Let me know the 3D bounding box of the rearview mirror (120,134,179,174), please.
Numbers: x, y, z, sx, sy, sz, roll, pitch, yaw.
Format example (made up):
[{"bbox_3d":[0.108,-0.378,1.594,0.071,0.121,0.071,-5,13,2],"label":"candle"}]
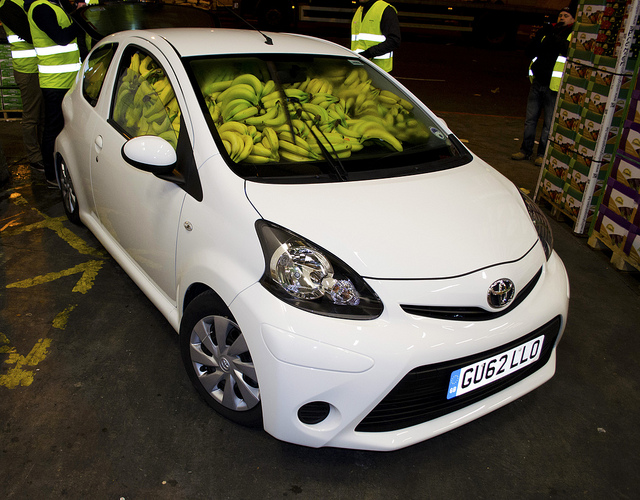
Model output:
[{"bbox_3d":[-0.845,-0.500,2.158,0.315,0.128,0.249,-2,-1,22],"label":"rearview mirror"}]

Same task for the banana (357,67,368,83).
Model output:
[{"bbox_3d":[0.291,-1.198,2.783,0.030,0.109,0.099,9,-4,-15],"label":"banana"}]

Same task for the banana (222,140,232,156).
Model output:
[{"bbox_3d":[-0.469,-0.521,2.089,0.028,0.040,0.114,-4,56,-36],"label":"banana"}]

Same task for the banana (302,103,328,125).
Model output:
[{"bbox_3d":[-0.017,-0.808,2.415,0.047,0.119,0.176,10,1,25],"label":"banana"}]

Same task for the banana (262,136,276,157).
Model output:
[{"bbox_3d":[-0.276,-0.569,2.183,0.029,0.050,0.130,-23,69,-17],"label":"banana"}]

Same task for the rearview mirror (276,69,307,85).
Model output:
[{"bbox_3d":[-0.168,-1.064,2.498,0.193,0.063,0.119,-16,40,-19],"label":"rearview mirror"}]

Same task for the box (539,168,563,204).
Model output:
[{"bbox_3d":[2.619,-0.727,4.640,0.278,0.309,0.182,33,23,35],"label":"box"}]

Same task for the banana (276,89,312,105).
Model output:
[{"bbox_3d":[-0.163,-0.901,2.411,0.162,0.060,0.105,-5,0,-27],"label":"banana"}]

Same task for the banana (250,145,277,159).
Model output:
[{"bbox_3d":[-0.290,-0.504,2.107,0.130,0.051,0.064,-4,37,-5],"label":"banana"}]

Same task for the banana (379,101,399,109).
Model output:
[{"bbox_3d":[0.456,-0.952,2.713,0.151,0.042,0.063,1,12,-15],"label":"banana"}]

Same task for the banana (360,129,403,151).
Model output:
[{"bbox_3d":[0.372,-0.659,2.427,0.238,0.083,0.127,3,37,5],"label":"banana"}]

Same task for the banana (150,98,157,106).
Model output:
[{"bbox_3d":[-0.982,-0.875,2.410,0.031,0.037,0.009,15,17,23],"label":"banana"}]

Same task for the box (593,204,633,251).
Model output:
[{"bbox_3d":[2.662,-0.209,3.746,0.270,0.187,0.283,1,33,-36],"label":"box"}]

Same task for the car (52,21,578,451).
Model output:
[{"bbox_3d":[-0.534,-0.601,3.126,1.971,1.710,3.557,-12,32,-44],"label":"car"}]

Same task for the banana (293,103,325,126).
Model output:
[{"bbox_3d":[-0.063,-0.819,2.406,0.153,0.057,0.145,-2,49,-30],"label":"banana"}]

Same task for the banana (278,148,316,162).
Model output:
[{"bbox_3d":[-0.129,-0.502,2.153,0.147,0.061,0.037,11,36,-9],"label":"banana"}]

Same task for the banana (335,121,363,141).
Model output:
[{"bbox_3d":[0.166,-0.697,2.394,0.149,0.053,0.103,27,61,15],"label":"banana"}]

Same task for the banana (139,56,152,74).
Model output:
[{"bbox_3d":[-1.089,-1.160,2.550,0.027,0.111,0.074,23,-10,-40],"label":"banana"}]

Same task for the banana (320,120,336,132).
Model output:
[{"bbox_3d":[0.041,-0.711,2.337,0.091,0.019,0.024,-38,28,-29],"label":"banana"}]
